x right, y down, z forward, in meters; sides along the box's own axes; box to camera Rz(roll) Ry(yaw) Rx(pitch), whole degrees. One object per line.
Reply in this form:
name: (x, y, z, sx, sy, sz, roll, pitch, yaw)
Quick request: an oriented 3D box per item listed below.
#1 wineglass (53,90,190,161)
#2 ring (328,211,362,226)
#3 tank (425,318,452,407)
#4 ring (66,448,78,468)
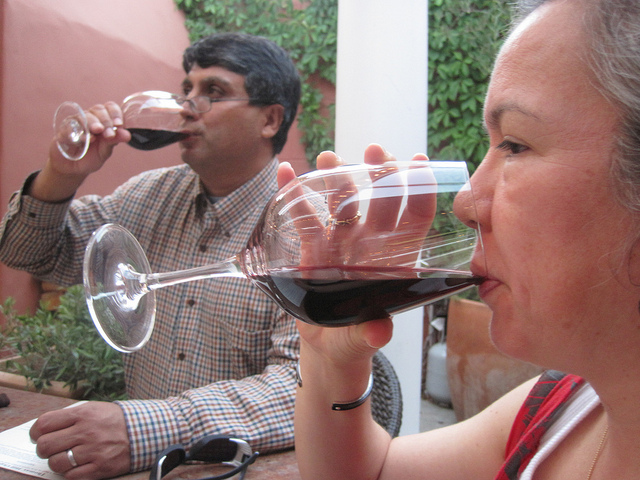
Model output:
wineglass: (-0.731, -0.436, 2.464, 0.511, 0.236, 0.278, -8, 11, -28)
ring: (0.055, -0.048, 1.457, 0.072, 0.030, 0.012, -3, 11, 1)
tank: (0.762, 0.723, 4.040, 0.207, 0.530, 0.205, -5, 19, -14)
ring: (-0.667, 0.593, 1.753, 0.012, 0.031, 0.036, -13, -32, -12)
